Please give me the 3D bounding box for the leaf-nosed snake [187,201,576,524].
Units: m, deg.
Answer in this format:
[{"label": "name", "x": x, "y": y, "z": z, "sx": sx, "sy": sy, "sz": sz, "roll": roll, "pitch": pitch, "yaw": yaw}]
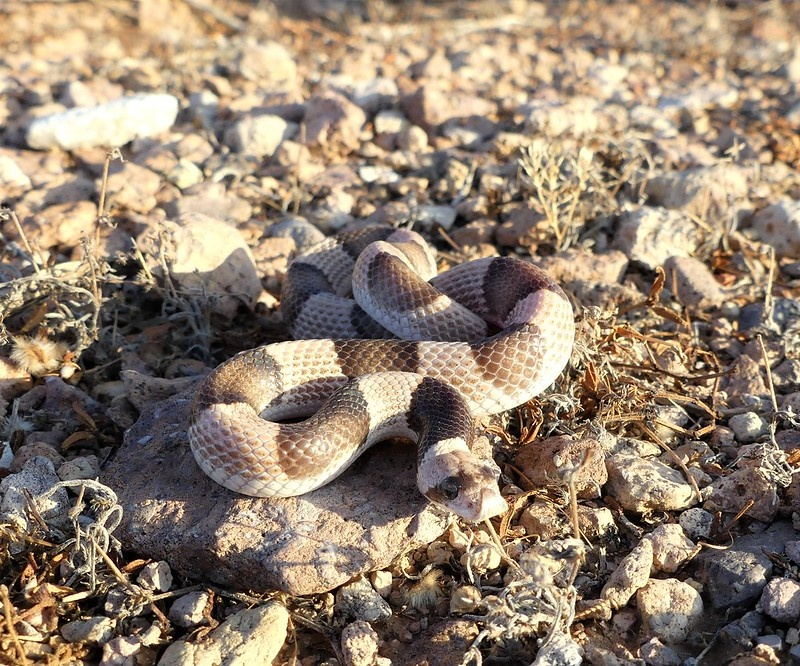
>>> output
[{"label": "leaf-nosed snake", "x": -0.039, "y": 0.124, "z": 7.204, "sx": 2.545, "sy": 0.738, "sz": 2.796, "roll": 11, "pitch": 48, "yaw": 16}]
